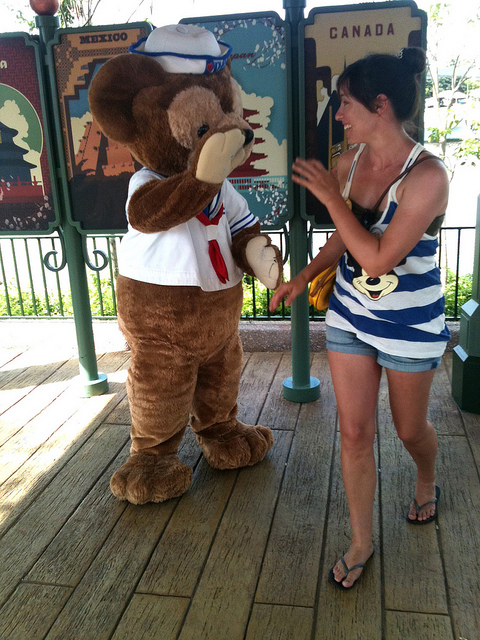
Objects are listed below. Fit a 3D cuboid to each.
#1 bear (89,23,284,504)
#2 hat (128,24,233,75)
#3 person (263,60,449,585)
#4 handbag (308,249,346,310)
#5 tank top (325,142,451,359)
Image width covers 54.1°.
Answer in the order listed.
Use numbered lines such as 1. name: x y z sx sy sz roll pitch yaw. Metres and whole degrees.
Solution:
1. bear: -0.224 -0.162 2.035 0.743 1.963 0.729 2 12 22
2. hat: -0.221 -1.035 1.783 0.357 0.131 0.396 5 35 -1
3. person: 0.501 0.028 1.660 0.614 1.680 0.581 -4 11 -9
4. handbag: 0.321 -0.150 1.723 0.153 0.150 0.108 38 49 17
5. tank top: 0.449 -0.255 1.490 0.418 0.733 0.272 10 39 32
